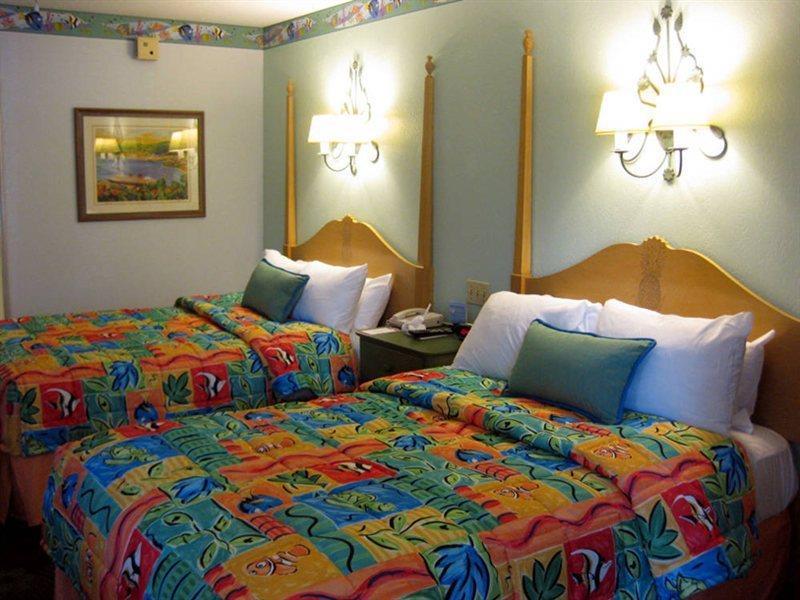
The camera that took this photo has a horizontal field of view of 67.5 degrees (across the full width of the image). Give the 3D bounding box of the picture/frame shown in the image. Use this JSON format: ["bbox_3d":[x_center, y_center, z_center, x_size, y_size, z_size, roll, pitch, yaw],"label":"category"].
[{"bbox_3d":[-2.271,-1.189,5.125,1.011,0.948,0.066,-4,10,-32],"label":"picture/frame"}]

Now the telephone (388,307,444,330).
[{"bbox_3d":[0.102,0.083,3.866,0.243,0.091,0.178,-6,10,-34],"label":"telephone"}]

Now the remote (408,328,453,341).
[{"bbox_3d":[0.188,0.209,3.695,0.307,0.090,0.089,3,13,-24],"label":"remote"}]

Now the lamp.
[{"bbox_3d":[1.152,-0.945,2.720,0.286,0.828,0.595,-10,16,-30],"label":"lamp"}]
